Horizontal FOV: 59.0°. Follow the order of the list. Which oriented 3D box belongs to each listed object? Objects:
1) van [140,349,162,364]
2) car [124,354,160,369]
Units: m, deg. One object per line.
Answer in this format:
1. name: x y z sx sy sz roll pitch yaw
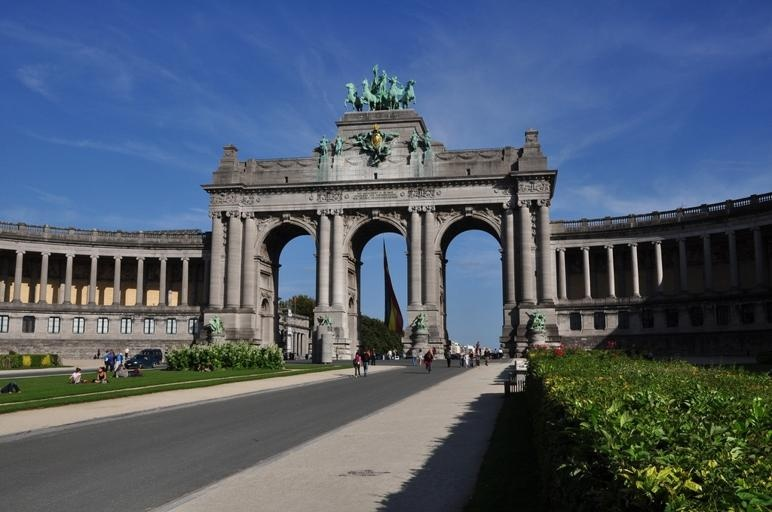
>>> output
1. van: -24.405 10.428 71.340 1.519 1.227 2.071 -1 -17 -1
2. car: -23.551 10.294 66.349 2.391 1.651 3.513 -4 -18 13
